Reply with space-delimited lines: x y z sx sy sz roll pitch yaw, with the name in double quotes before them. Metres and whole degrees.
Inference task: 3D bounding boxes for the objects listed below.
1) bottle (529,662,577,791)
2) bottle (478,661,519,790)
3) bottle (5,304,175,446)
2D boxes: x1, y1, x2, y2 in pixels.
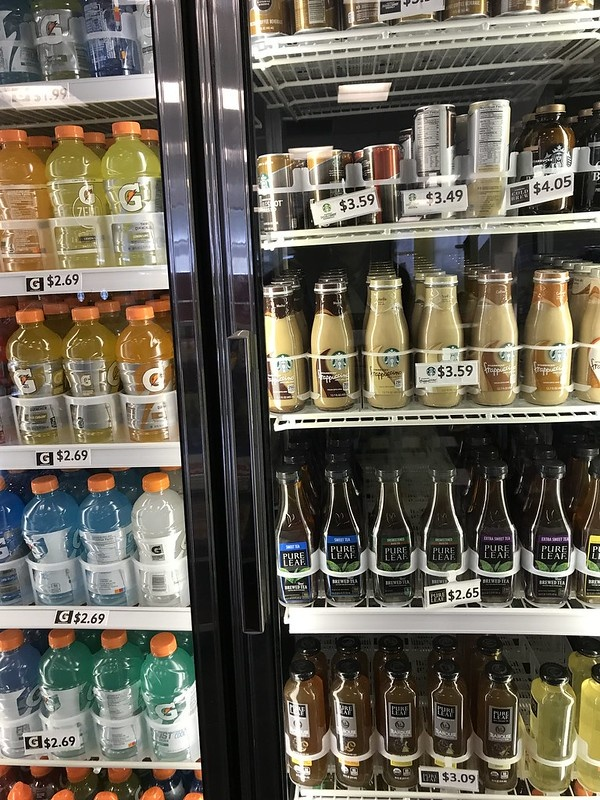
"bottle" 0.501 0.646 1.261 0.088 0.276 0.179 1 16 23
"bottle" 0.389 0.647 1.245 0.083 0.261 0.110 2 17 28
"bottle" -0.416 -0.038 1.262 0.266 0.221 0.108 -1 11 -1
